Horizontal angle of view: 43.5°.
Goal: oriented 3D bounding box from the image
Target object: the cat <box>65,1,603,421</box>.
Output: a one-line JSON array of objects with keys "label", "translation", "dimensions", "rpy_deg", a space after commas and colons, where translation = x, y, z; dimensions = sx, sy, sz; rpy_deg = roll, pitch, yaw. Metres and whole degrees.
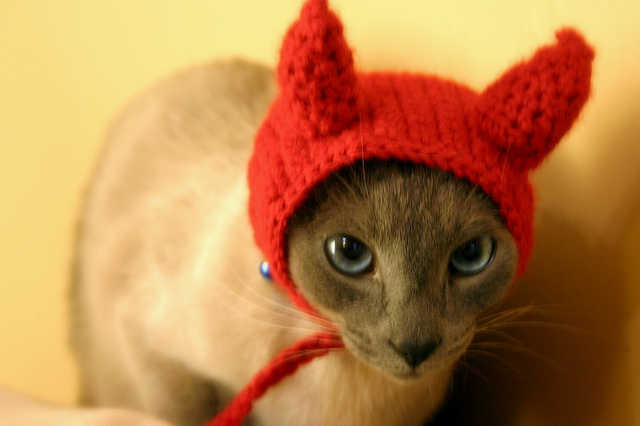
[{"label": "cat", "translation": [-0.070, -0.039, 1.329], "dimensions": [0.511, 0.692, 0.774], "rpy_deg": [-3, 29, -33]}]
